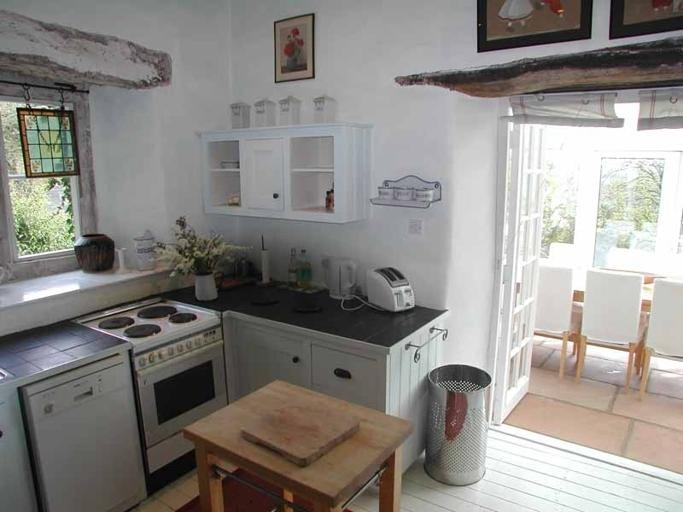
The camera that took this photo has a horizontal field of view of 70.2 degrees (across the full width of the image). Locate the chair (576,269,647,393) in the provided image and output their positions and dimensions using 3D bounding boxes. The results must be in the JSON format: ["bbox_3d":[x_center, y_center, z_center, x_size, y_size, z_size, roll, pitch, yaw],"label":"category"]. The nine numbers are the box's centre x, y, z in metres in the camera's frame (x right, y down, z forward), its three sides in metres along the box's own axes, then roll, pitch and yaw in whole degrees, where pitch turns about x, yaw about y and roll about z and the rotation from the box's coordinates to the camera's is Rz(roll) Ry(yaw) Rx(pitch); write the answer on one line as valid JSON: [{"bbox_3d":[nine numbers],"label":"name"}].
[{"bbox_3d":[2.514,0.647,4.526,0.514,1.073,0.553,8,15,33],"label":"chair"}]

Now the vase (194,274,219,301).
[{"bbox_3d":[-1.023,0.242,3.804,0.181,0.200,0.181,-1,6,23],"label":"vase"}]

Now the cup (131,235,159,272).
[{"bbox_3d":[-1.511,-0.038,3.790,0.173,0.294,0.410,-6,14,-26],"label":"cup"}]

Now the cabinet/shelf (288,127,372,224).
[{"bbox_3d":[-0.076,-0.633,3.663,0.506,0.696,0.426,7,14,30],"label":"cabinet/shelf"}]

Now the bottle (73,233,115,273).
[{"bbox_3d":[-1.869,-0.034,3.722,0.289,0.283,0.288,-3,3,-33],"label":"bottle"}]

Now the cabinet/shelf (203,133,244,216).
[{"bbox_3d":[-0.979,-0.682,4.007,0.302,0.639,0.434,-3,13,-15],"label":"cabinet/shelf"}]

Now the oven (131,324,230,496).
[{"bbox_3d":[-1.263,0.995,3.479,0.748,0.957,0.724,-13,14,-42],"label":"oven"}]

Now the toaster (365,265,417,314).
[{"bbox_3d":[0.354,0.242,3.560,0.192,0.270,0.326,-10,16,-34],"label":"toaster"}]

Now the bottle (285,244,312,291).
[{"bbox_3d":[-0.364,0.093,4.057,0.267,0.310,0.212,5,13,22],"label":"bottle"}]

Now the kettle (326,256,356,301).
[{"bbox_3d":[-0.001,0.172,3.732,0.307,0.319,0.199,7,10,35],"label":"kettle"}]

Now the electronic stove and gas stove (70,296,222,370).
[{"bbox_3d":[-1.302,0.471,3.331,0.532,0.202,0.513,10,17,27],"label":"electronic stove and gas stove"}]

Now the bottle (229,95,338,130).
[{"bbox_3d":[-0.476,-1.145,3.874,0.894,0.237,0.326,8,14,31],"label":"bottle"}]

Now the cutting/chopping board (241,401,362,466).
[{"bbox_3d":[-0.179,0.778,2.159,0.429,0.092,0.313,7,14,28],"label":"cutting/chopping board"}]

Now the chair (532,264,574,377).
[{"bbox_3d":[2.078,0.602,4.708,0.357,1.074,0.490,10,16,37],"label":"chair"}]

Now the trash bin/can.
[{"bbox_3d":[0.811,1.170,3.417,0.425,0.708,0.430,5,13,22],"label":"trash bin/can"}]

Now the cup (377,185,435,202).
[{"bbox_3d":[0.458,-0.445,3.516,0.388,0.101,0.091,6,14,26],"label":"cup"}]

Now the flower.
[{"bbox_3d":[-1.124,-0.066,3.883,0.432,0.506,0.623,-4,13,-19],"label":"flower"}]

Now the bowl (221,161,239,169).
[{"bbox_3d":[-0.924,-0.763,4.038,0.147,0.067,0.354,-3,12,-14],"label":"bowl"}]

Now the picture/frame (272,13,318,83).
[{"bbox_3d":[-0.352,-1.683,3.888,0.561,0.700,0.032,3,6,30],"label":"picture/frame"}]
